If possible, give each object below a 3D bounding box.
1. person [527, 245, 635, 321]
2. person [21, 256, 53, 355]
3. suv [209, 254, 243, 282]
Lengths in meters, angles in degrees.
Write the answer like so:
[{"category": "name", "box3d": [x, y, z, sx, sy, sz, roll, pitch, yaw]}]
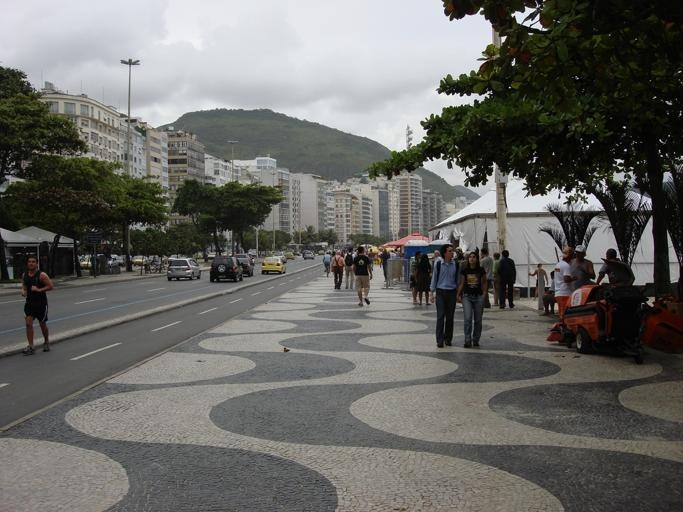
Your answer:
[{"category": "person", "box3d": [5.384, 0.392, 14.643, 0.996, 2.221, 0.846, 0, 0, -18]}, {"category": "person", "box3d": [-6.358, 0.999, 13.872, 0.693, 1.951, 1.046, -1, -1, -2]}, {"category": "suv", "box3d": [-7.723, 0.822, 44.358, 1.847, 1.670, 1.988, -2, 2, -1]}]
